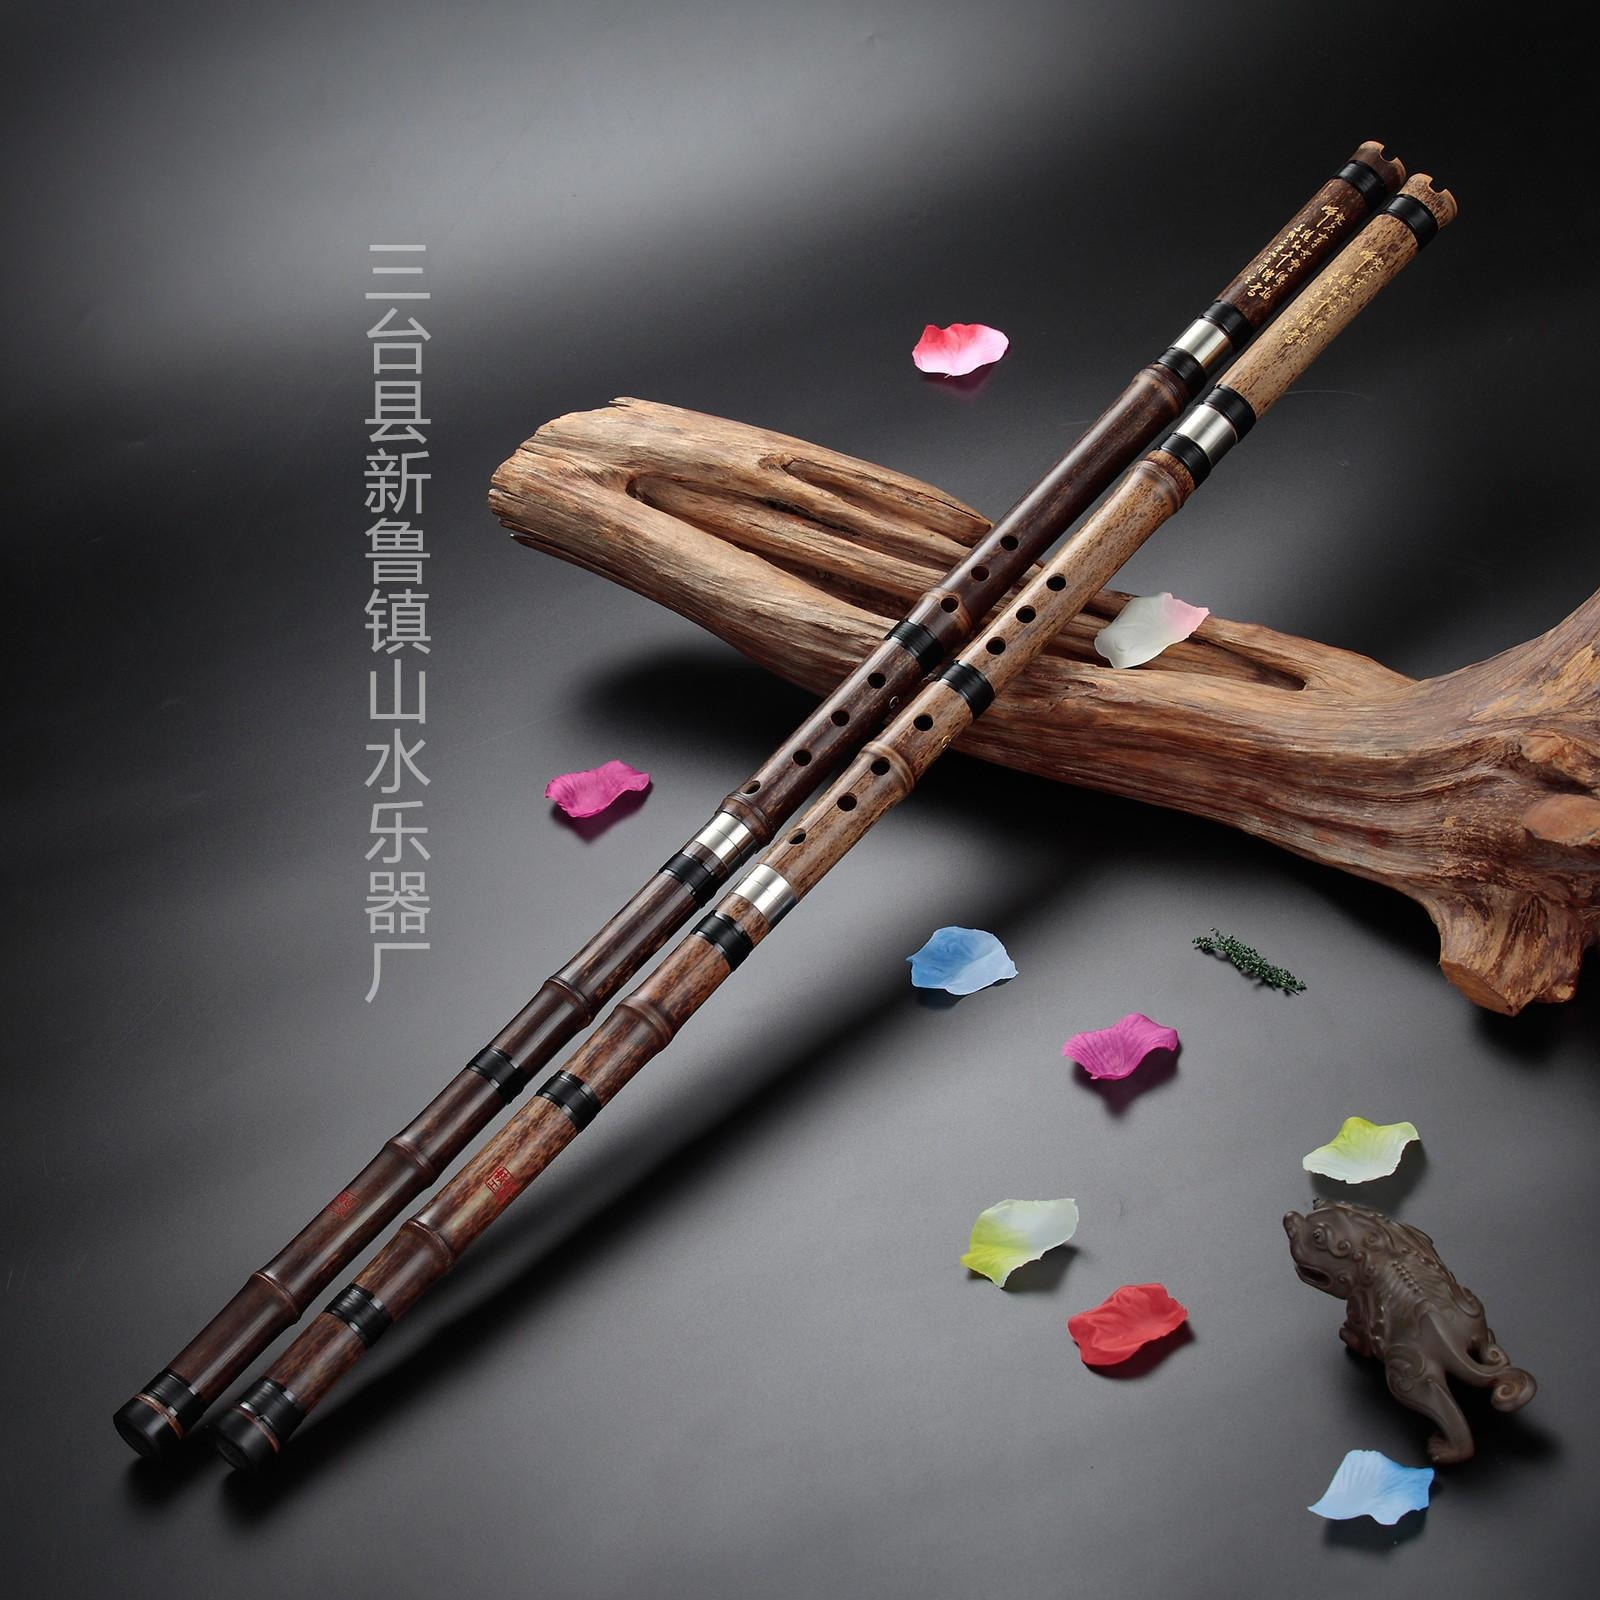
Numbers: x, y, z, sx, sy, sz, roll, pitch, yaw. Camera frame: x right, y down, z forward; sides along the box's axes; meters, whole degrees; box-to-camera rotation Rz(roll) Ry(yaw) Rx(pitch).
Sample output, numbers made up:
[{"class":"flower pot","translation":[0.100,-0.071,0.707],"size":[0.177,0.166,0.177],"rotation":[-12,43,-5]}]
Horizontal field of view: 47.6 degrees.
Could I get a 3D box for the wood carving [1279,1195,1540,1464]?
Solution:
[{"class":"wood carving","translation":[0.659,0.589,1.999],"size":[0.290,0.203,0.141],"rotation":[8,4,21]}]
